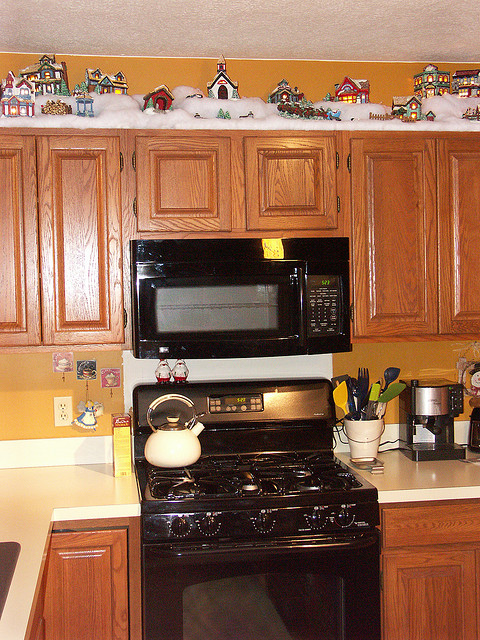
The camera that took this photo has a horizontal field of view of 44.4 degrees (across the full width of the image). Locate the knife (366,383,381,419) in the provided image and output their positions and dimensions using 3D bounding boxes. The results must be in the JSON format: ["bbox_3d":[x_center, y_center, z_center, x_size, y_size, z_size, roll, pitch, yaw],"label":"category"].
[{"bbox_3d":[0.485,0.285,2.139,0.031,0.156,0.019,20,19,36],"label":"knife"}]

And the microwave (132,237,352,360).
[{"bbox_3d":[0.013,-0.073,2.062,0.725,0.418,0.357,-1,9,-5],"label":"microwave"}]

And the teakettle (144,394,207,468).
[{"bbox_3d":[-0.219,0.365,2.014,0.207,0.219,0.167,1,3,-6],"label":"teakettle"}]

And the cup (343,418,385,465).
[{"bbox_3d":[0.459,0.439,2.153,0.153,0.157,0.148,-2,-3,0],"label":"cup"}]

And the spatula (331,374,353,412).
[{"bbox_3d":[0.390,0.282,2.199,0.053,0.155,0.023,-9,-14,22],"label":"spatula"}]

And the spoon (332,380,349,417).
[{"bbox_3d":[0.372,0.282,2.159,0.041,0.137,0.024,-16,2,8],"label":"spoon"}]

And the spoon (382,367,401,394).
[{"bbox_3d":[0.564,0.216,2.185,0.059,0.081,0.144,-3,4,17],"label":"spoon"}]

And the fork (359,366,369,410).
[{"bbox_3d":[0.463,0.250,2.163,0.023,0.156,0.019,2,-2,-8],"label":"fork"}]

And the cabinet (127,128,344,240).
[{"bbox_3d":[-0.022,-0.466,2.139,0.755,0.351,0.391,-2,3,-4],"label":"cabinet"}]
